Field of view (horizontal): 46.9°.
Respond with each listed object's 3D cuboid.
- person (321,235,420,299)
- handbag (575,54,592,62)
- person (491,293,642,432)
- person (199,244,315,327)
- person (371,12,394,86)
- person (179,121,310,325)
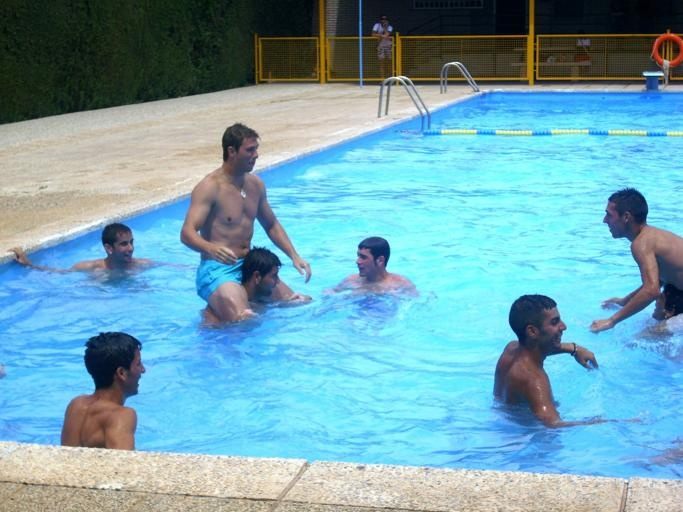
[{"bbox_3d":[0.221,-0.072,6.569,0.832,0.510,0.462,6,8,41],"label":"person"},{"bbox_3d":[6.655,-5.456,21.597,0.257,0.167,0.136,1,3,37],"label":"handbag"},{"bbox_3d":[1.270,0.673,4.758,0.672,0.889,0.942,1,21,7],"label":"person"},{"bbox_3d":[-0.650,0.206,6.134,0.822,0.473,0.447,-3,15,-7],"label":"person"},{"bbox_3d":[1.209,-6.005,22.668,0.569,1.788,0.711,-1,14,2],"label":"person"},{"bbox_3d":[-0.791,-0.279,6.114,0.594,1.470,0.929,11,18,40],"label":"person"}]
